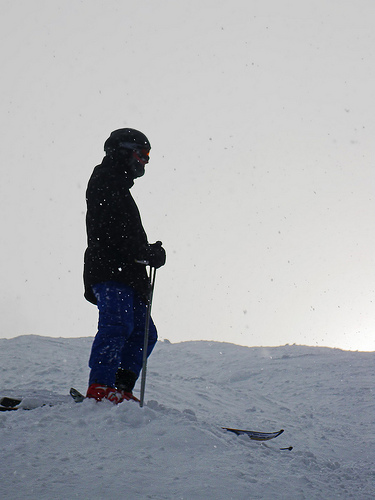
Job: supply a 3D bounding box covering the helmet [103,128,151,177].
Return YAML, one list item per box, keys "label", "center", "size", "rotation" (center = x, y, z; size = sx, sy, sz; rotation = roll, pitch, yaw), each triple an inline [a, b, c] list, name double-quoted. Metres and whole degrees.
- label: "helmet"
  center: [-0.385, -0.634, 5.233]
  size: [0.299, 0.304, 0.254]
  rotation: [13, -1, 9]

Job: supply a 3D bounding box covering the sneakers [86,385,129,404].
- label: "sneakers"
  center: [-0.473, 0.818, 4.637]
  size: [0.172, 0.072, 0.106]
  rotation: [10, -9, -3]

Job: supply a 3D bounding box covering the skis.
- label: "skis"
  center: [-0.260, 0.981, 4.695]
  size: [1.363, 0.198, 0.144]
  rotation: [10, -28, 5]

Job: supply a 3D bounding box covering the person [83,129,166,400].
- label: "person"
  center: [-0.384, 0.057, 4.938]
  size: [0.488, 1.606, 0.638]
  rotation: [10, -2, -26]
